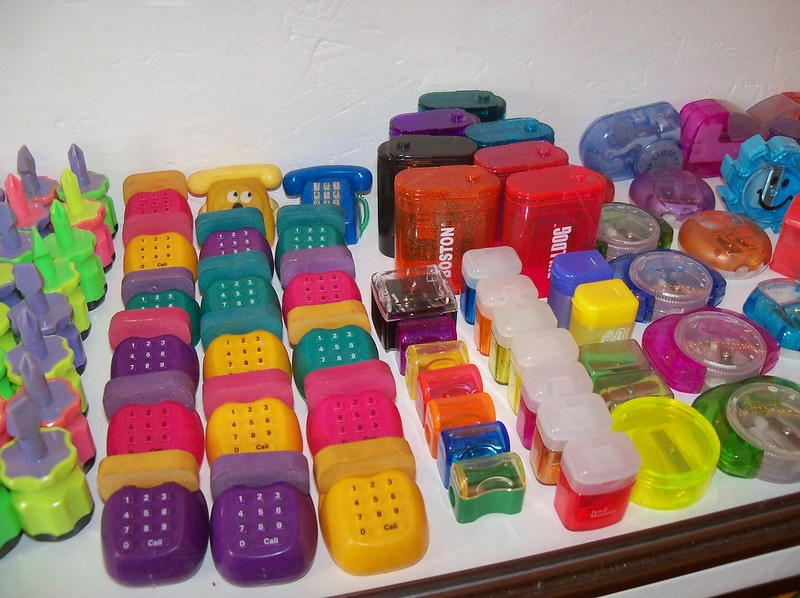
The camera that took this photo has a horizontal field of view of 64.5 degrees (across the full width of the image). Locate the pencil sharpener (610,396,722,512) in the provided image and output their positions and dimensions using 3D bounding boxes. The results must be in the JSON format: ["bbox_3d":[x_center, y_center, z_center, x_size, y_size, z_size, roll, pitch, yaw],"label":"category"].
[{"bbox_3d":[0.407,0.227,0.946,0.144,0.059,0.147,-11,44,4],"label":"pencil sharpener"}]

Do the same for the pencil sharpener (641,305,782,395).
[{"bbox_3d":[0.567,0.085,1.130,0.217,0.057,0.164,-1,40,10],"label":"pencil sharpener"}]
